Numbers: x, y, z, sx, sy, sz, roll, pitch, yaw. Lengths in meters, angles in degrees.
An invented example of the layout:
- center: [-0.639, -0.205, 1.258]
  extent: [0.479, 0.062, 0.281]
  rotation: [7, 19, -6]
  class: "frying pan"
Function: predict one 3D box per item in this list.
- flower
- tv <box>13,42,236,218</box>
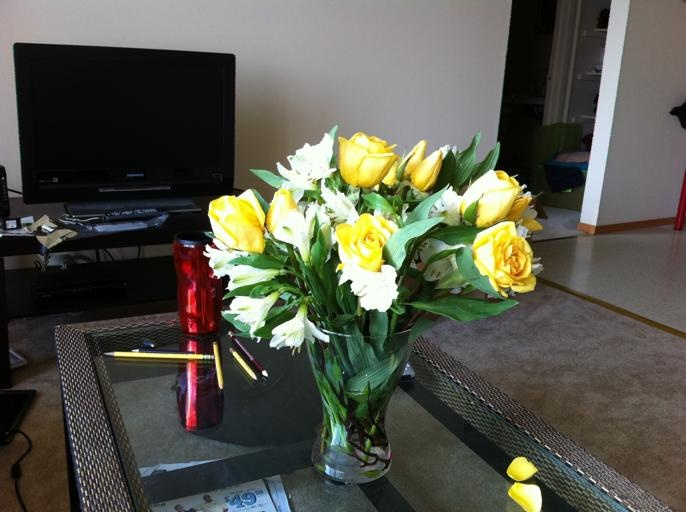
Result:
- center: [0.053, 0.049, 0.688]
  extent: [0.354, 0.386, 0.351]
  rotation: [-27, 42, -30]
  class: "flower"
- center: [-1.017, -0.566, 2.083]
  extent: [0.867, 0.656, 0.259]
  rotation: [-4, 14, -23]
  class: "tv"
